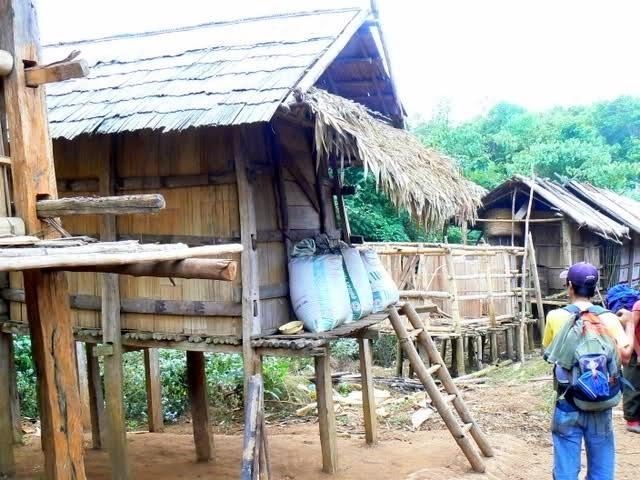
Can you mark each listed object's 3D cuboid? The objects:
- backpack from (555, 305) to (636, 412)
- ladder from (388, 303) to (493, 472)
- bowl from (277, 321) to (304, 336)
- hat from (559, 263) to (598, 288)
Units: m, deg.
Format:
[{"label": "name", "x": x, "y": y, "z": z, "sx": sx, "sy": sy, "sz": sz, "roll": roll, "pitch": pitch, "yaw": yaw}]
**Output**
[{"label": "backpack", "x": 2.393, "y": 1.080, "z": 5.387, "sx": 0.656, "sy": 0.950, "sz": 0.397, "roll": -2, "pitch": 2, "yaw": 12}, {"label": "ladder", "x": 1.976, "y": 2.430, "z": 9.760, "sx": 0.378, "sy": 3.632, "sz": 0.894, "roll": -32, "pitch": 4, "yaw": 42}, {"label": "bowl", "x": -0.335, "y": 1.000, "z": 6.712, "sx": 0.294, "sy": 0.121, "sz": 0.293, "roll": -2, "pitch": 1, "yaw": 0}, {"label": "hat", "x": 2.462, "y": 0.327, "z": 5.634, "sx": 0.247, "sy": 0.184, "sz": 0.352, "roll": 2, "pitch": 12, "yaw": 0}]
